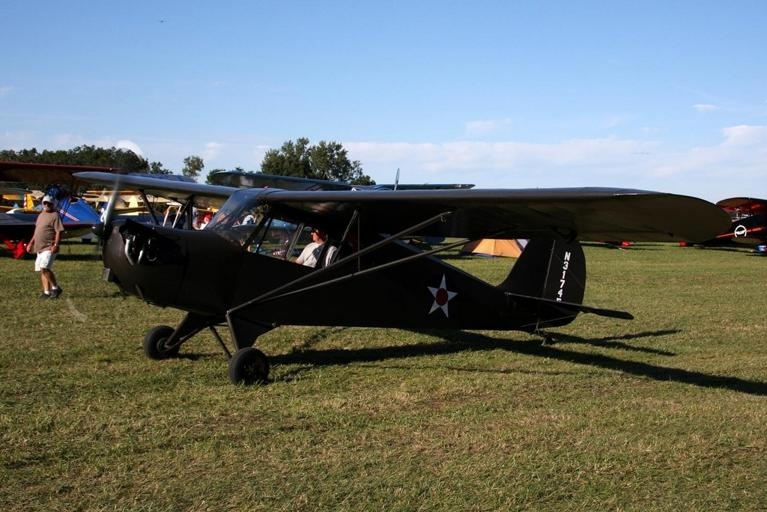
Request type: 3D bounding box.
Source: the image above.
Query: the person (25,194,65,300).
[{"bbox_3d":[-5.852,-0.162,10.734,0.494,1.800,1.340,-6,18,-27],"label":"person"}]

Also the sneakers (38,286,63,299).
[{"bbox_3d":[-5.680,0.625,10.477,0.319,0.210,0.336,-5,16,-26],"label":"sneakers"}]
